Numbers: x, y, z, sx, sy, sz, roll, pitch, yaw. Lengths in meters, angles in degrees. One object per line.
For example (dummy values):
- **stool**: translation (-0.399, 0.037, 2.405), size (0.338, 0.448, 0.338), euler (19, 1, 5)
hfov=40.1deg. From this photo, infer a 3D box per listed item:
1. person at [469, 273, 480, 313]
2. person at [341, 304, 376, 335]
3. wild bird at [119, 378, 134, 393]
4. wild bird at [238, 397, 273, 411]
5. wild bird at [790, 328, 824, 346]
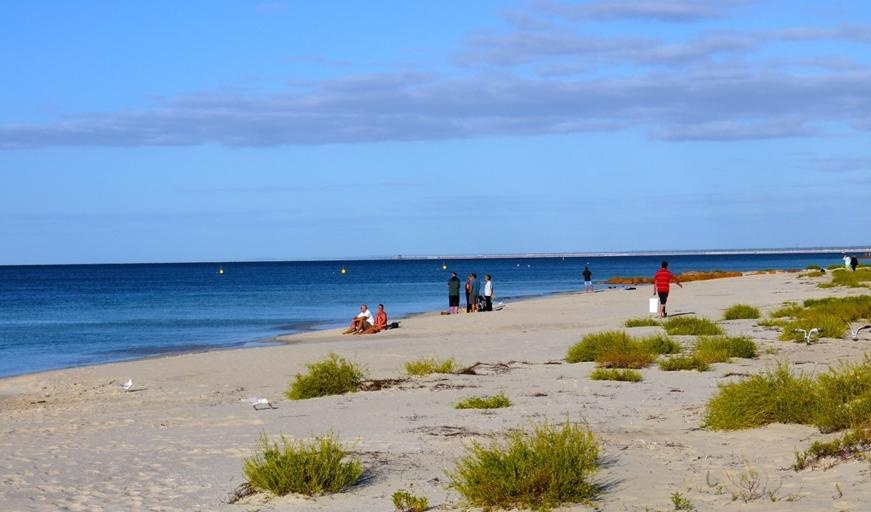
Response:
- **person**: translation (1.931, 1.686, 57.468), size (0.540, 1.751, 1.219), euler (-4, 5, 4)
- **person**: translation (-3.318, 2.675, 52.400), size (1.287, 1.144, 1.819), euler (-4, 5, -3)
- **wild bird**: translation (-10.918, 4.546, 42.392), size (0.510, 0.322, 0.498), euler (5, -3, -42)
- **wild bird**: translation (-5.711, 4.672, 38.883), size (0.708, 0.223, 0.669), euler (-20, -45, 35)
- **wild bird**: translation (13.040, 2.702, 41.511), size (0.891, 0.323, 0.575), euler (0, -6, 6)
